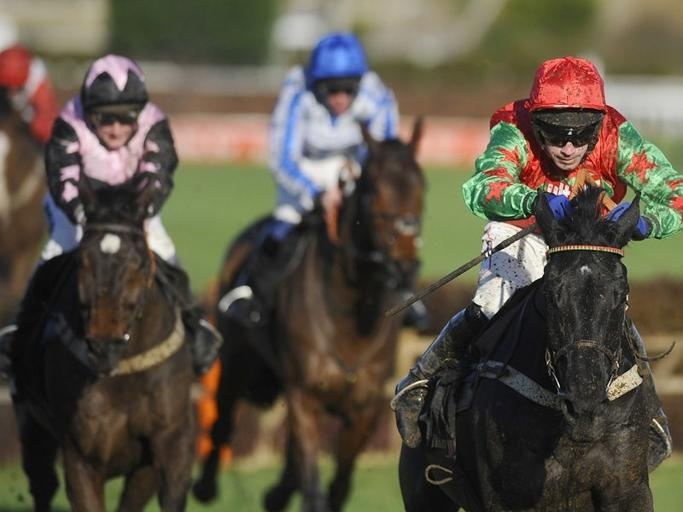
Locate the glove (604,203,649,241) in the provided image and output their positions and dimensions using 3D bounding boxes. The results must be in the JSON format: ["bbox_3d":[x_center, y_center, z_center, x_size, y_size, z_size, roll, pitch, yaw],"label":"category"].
[{"bbox_3d":[1.863,-0.212,10.501,0.282,0.232,0.237,6,5,10],"label":"glove"}]

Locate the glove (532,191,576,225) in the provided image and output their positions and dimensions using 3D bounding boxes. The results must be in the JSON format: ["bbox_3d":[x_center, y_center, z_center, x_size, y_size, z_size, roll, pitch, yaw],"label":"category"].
[{"bbox_3d":[1.363,-0.297,10.508,0.260,0.199,0.180,7,5,16],"label":"glove"}]

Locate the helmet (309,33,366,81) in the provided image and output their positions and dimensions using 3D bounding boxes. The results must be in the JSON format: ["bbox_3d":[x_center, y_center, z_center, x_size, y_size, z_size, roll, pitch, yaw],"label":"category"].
[{"bbox_3d":[-0.030,-1.600,13.379,0.347,0.344,0.459,1,10,-3],"label":"helmet"}]
